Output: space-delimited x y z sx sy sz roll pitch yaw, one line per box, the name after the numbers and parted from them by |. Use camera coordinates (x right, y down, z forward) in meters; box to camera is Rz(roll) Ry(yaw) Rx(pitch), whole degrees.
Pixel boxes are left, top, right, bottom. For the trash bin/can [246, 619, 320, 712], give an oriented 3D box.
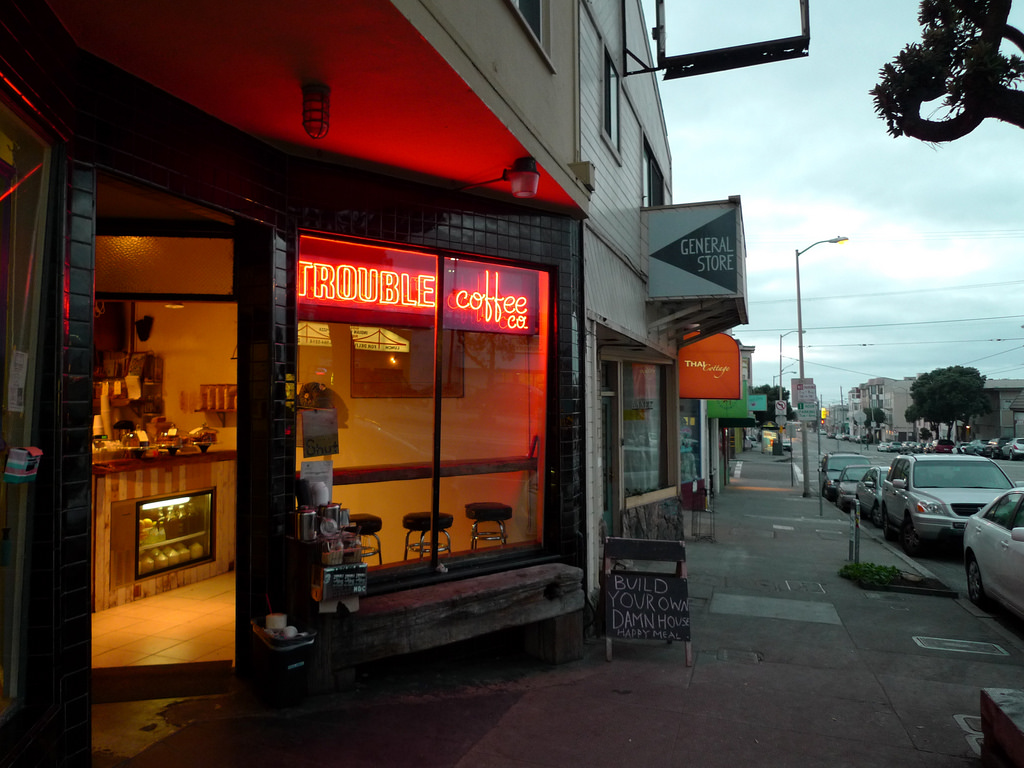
-1.785 2.166 6.834 0.505 0.556 0.479 -1 0 -31 | trash bin/can

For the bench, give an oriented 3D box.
-0.496 2.138 7.634 2.654 0.837 0.385 3 -2 -36 | bench

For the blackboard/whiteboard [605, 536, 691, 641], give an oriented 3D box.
1.263 1.969 8.284 0.800 0.949 0.332 1 -1 9 | blackboard/whiteboard

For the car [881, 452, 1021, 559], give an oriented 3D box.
7.118 1.975 14.533 1.572 1.483 3.468 0 -1 21 | car
